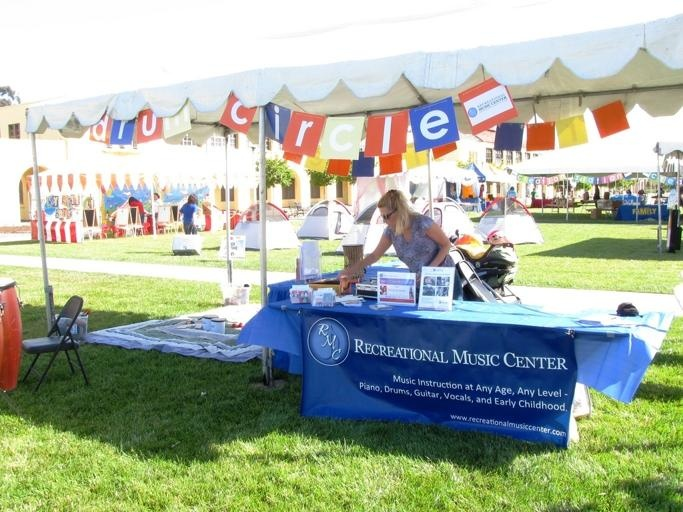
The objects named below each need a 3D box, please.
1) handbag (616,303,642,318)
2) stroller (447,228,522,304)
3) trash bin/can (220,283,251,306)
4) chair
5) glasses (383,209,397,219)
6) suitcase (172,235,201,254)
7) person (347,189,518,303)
[{"bbox_3d":[2.369,0.428,5.424,0.182,0.098,0.260,5,13,27],"label":"handbag"},{"bbox_3d":[1.692,0.178,7.788,0.882,1.144,0.796,-2,5,13],"label":"stroller"},{"bbox_3d":[-1.624,0.541,9.957,0.286,0.261,0.321,1,4,-12],"label":"trash bin/can"},{"bbox_3d":[-3.054,0.830,6.885,0.602,0.889,1.074,-6,12,-28],"label":"chair"},{"bbox_3d":[0.456,-0.406,6.459,0.172,0.104,0.089,9,14,42],"label":"glasses"},{"bbox_3d":[-3.979,-0.294,16.790,0.699,0.472,0.567,-4,11,-17],"label":"suitcase"},{"bbox_3d":[0.729,-0.104,6.570,1.707,1.137,0.735,-9,13,-36],"label":"person"}]
